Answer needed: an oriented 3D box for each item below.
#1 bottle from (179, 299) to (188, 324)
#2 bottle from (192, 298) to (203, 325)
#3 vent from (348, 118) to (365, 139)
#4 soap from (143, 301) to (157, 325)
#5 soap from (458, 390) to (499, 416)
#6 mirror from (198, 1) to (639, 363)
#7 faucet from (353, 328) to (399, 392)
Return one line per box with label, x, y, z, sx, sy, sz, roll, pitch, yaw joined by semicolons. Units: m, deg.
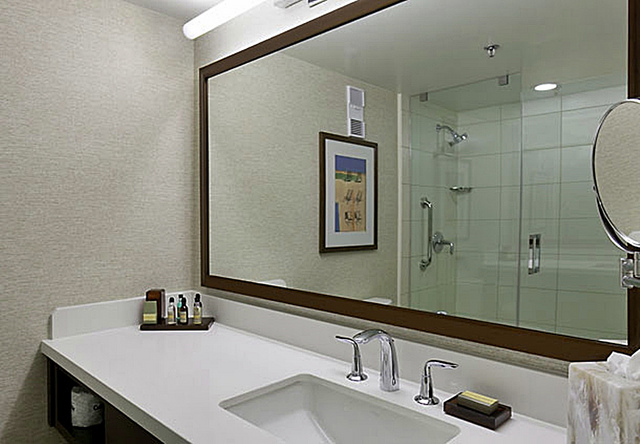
bottle;-0.683;0.447;2.214;0.036;0.113;0.053;-4;10;-24
bottle;-0.617;0.445;2.216;0.046;0.124;0.090;-3;9;-17
vent;0.146;-0.376;1.768;0.089;0.089;0.037;2;1;38
soap;-0.844;0.450;2.204;0.063;0.108;0.038;-2;9;-13
soap;0.487;0.556;1.384;0.084;0.020;0.046;5;12;43
mirror;0.832;-0.165;2.417;2.100;1.105;1.361;7;1;41
faucet;0.196;0.474;1.540;0.171;0.214;0.099;-1;9;-5
